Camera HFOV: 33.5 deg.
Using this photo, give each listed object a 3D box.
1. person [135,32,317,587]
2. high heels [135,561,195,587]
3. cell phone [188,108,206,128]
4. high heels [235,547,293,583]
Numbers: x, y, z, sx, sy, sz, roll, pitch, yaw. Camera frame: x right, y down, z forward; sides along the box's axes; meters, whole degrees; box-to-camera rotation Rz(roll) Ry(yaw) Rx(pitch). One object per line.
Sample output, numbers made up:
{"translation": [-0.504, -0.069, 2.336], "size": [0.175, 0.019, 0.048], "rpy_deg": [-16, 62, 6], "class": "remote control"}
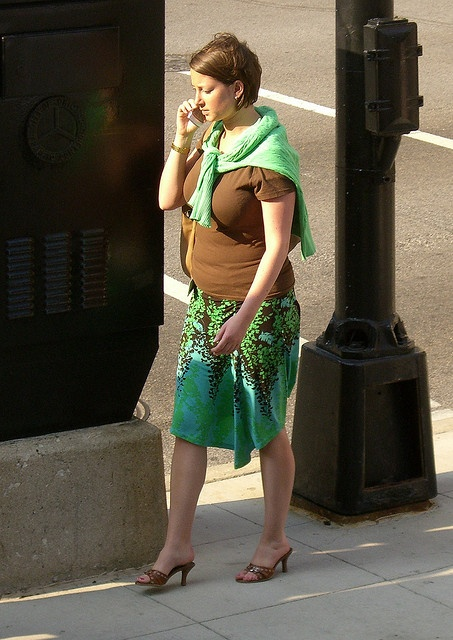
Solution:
{"translation": [0.003, -0.007, 2.417], "size": [0.491, 1.760, 0.426], "rpy_deg": [2, 7, 14], "class": "person"}
{"translation": [-0.201, 0.807, 2.426], "size": [0.186, 0.059, 0.066], "rpy_deg": [1, 5, -24], "class": "high heels"}
{"translation": [-0.094, -0.653, 2.440], "size": [0.028, 0.065, 0.047], "rpy_deg": [-35, -32, 0], "class": "cell phone"}
{"translation": [0.128, 0.812, 2.502], "size": [0.174, 0.055, 0.073], "rpy_deg": [-4, 3, -25], "class": "high heels"}
